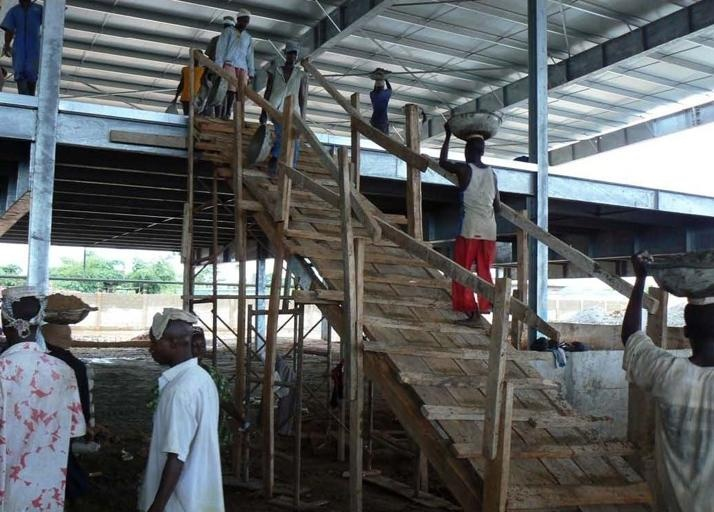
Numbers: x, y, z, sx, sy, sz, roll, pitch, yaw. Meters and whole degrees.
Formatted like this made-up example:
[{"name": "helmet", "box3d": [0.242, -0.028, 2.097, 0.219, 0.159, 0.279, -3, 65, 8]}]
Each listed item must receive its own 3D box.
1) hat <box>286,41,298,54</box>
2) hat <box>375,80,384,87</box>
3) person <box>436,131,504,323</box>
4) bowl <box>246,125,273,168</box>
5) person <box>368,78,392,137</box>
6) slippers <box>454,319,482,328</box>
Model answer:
[{"name": "hat", "box3d": [-1.123, -3.613, 14.030, 0.204, 0.258, 0.296, 2, -1, -6]}, {"name": "hat", "box3d": [0.369, -2.904, 13.709, 0.131, 0.121, 0.116, 0, 4, 19]}, {"name": "person", "box3d": [1.526, -0.470, 11.023, 0.779, 2.692, 0.696, 2, -1, 10]}, {"name": "bowl", "box3d": [-1.562, -1.796, 13.115, 0.199, 0.546, 0.558, 17, -24, -15]}, {"name": "person", "box3d": [0.390, -2.538, 13.796, 0.319, 1.061, 0.951, 2, -1, 1]}, {"name": "slippers", "box3d": [1.472, 0.859, 10.728, 0.367, 0.119, 0.202, 2, -1, -12]}]
